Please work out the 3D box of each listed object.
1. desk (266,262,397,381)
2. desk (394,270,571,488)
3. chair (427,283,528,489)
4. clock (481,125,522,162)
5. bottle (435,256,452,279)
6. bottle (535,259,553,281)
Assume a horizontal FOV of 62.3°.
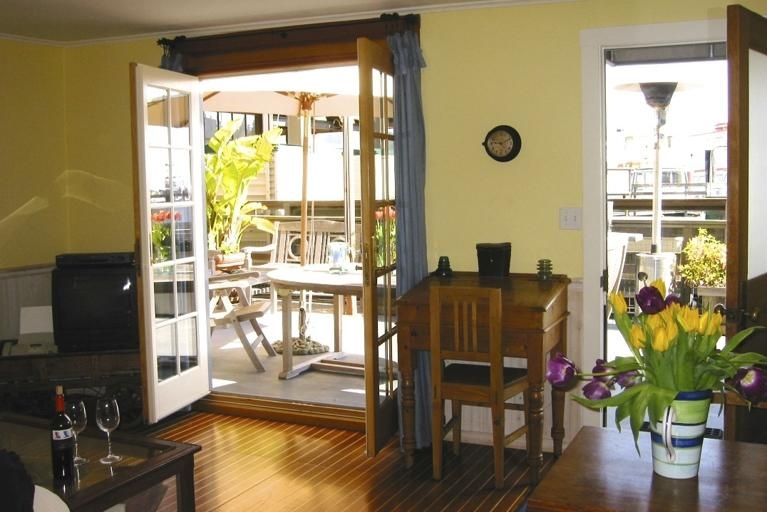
[{"bbox_3d":[-0.531,0.541,5.533,1.181,0.755,1.083,2,5,18],"label":"desk"},{"bbox_3d":[0.690,0.765,4.482,1.054,1.248,0.771,0,3,30],"label":"desk"},{"bbox_3d":[0.641,0.819,4.243,0.636,1.338,0.501,2,13,13],"label":"chair"},{"bbox_3d":[0.844,-0.820,4.605,0.256,0.256,0.062,31,4,-25],"label":"clock"},{"bbox_3d":[0.444,0.085,4.692,0.154,0.170,0.157,0,-2,0],"label":"bottle"},{"bbox_3d":[1.135,0.095,4.563,0.125,0.151,0.127,0,-2,3],"label":"bottle"}]
